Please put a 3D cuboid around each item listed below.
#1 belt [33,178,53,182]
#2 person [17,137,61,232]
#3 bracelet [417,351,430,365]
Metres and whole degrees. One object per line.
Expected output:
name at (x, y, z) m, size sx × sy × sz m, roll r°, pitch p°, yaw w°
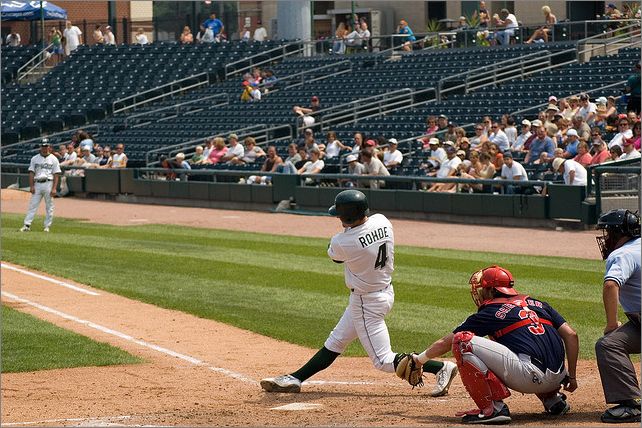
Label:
belt at (-8.109, -1.013, 40.655) m, size 0.501 × 0.150 × 0.129 m, roll 1°, pitch 1°, yaw -12°
person at (-8.185, -0.803, 40.809) m, size 1.018 × 2.639 × 0.985 m, roll 1°, pitch 1°, yaw 2°
bracelet at (2.220, 3.158, 30.304) m, size 0.154 × 0.187 × 0.335 m, roll -19°, pitch -15°, yaw 11°
